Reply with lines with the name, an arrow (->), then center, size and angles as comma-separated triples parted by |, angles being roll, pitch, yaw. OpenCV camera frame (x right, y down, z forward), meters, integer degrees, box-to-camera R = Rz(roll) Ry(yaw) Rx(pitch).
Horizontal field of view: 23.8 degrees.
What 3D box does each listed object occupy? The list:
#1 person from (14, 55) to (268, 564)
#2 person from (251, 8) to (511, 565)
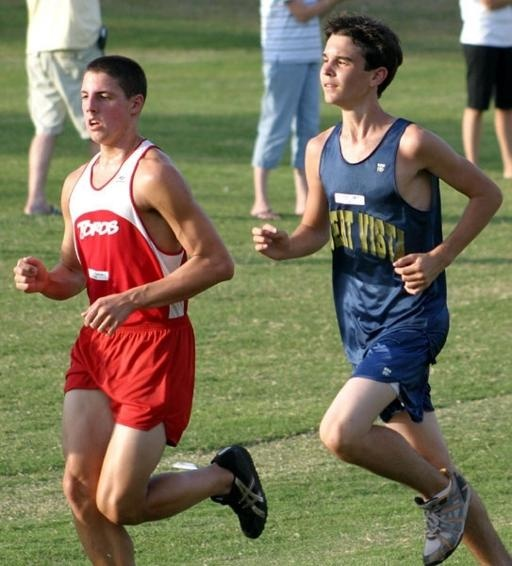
person -> -0.409, 0.086, 4.240 | 0.756, 1.681, 0.732 | -6, 19, -20
person -> 0.466, 0.015, 4.276 | 0.858, 1.835, 1.000 | -6, 18, -20
